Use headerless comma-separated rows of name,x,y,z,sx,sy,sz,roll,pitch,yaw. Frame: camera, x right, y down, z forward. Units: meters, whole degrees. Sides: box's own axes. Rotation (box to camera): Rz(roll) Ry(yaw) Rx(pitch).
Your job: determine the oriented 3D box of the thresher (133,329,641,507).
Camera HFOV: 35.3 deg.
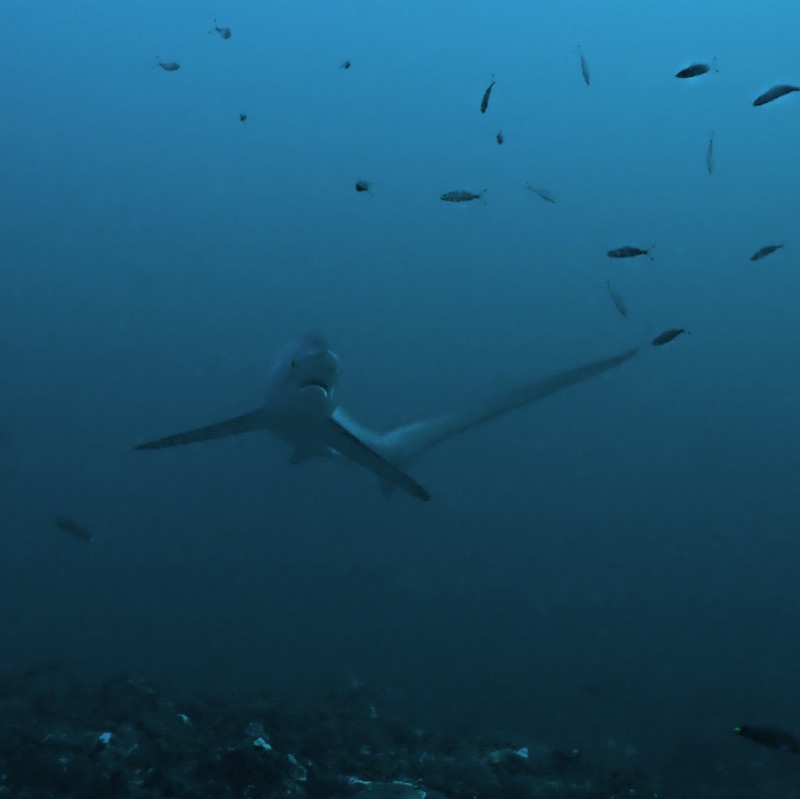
thresher,-0.565,0.246,12.211,2.291,0.698,3.080,0,-26,13
